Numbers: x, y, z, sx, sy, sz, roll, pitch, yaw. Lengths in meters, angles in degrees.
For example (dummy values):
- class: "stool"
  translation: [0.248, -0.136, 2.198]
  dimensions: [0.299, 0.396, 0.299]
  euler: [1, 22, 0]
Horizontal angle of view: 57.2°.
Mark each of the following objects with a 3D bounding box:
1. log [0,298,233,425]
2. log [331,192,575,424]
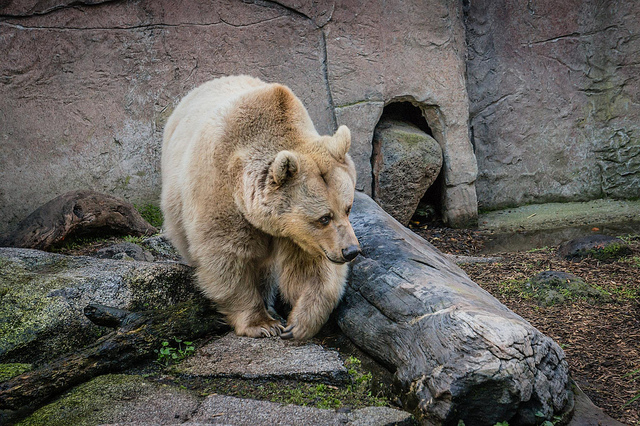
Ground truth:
- class: "log"
  translation: [-2.016, 1.455, 6.593]
  dimensions: [2.809, 0.344, 0.750]
  euler: [-20, 54, -33]
- class: "log"
  translation: [1.151, 1.255, 6.863]
  dimensions: [1.671, 1.119, 3.036]
  euler: [-9, 30, -32]
